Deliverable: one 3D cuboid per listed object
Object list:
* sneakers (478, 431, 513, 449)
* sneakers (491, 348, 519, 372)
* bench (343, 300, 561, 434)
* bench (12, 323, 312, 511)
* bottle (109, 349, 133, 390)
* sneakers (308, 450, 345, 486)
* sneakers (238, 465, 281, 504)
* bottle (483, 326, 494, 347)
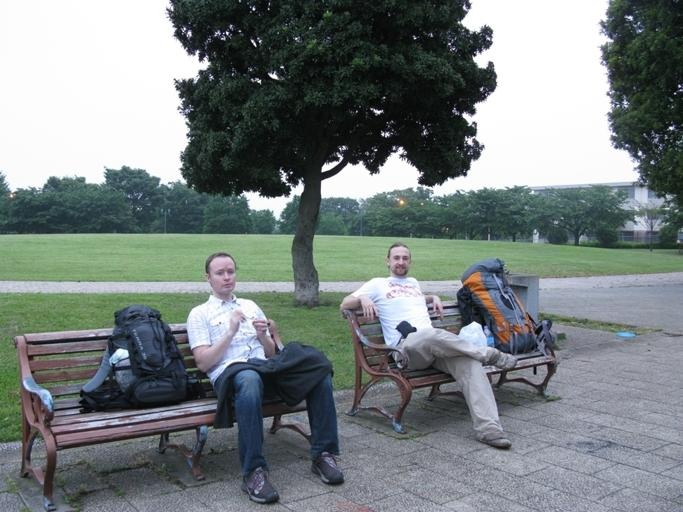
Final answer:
[{"bbox_3d":[1.528,1.844,5.286,0.145,0.112,0.264,5,-8,-43],"label":"sneakers"},{"bbox_3d":[1.736,1.133,5.799,0.326,0.202,0.135,19,4,-14],"label":"sneakers"},{"bbox_3d":[1.465,1.272,6.745,2.890,1.258,1.199,1,0,-37],"label":"bench"},{"bbox_3d":[-2.037,1.326,4.759,1.740,1.257,1.390,-1,4,-14],"label":"bench"},{"bbox_3d":[-1.953,1.002,4.680,0.180,0.323,0.241,-10,-17,-31],"label":"bottle"},{"bbox_3d":[-0.117,1.860,4.641,0.176,0.214,0.327,-2,4,-32],"label":"sneakers"},{"bbox_3d":[-0.664,1.882,4.322,0.165,0.240,0.300,-3,5,-42],"label":"sneakers"},{"bbox_3d":[1.842,1.013,6.575,0.051,0.189,0.189,-28,19,41],"label":"bottle"}]
